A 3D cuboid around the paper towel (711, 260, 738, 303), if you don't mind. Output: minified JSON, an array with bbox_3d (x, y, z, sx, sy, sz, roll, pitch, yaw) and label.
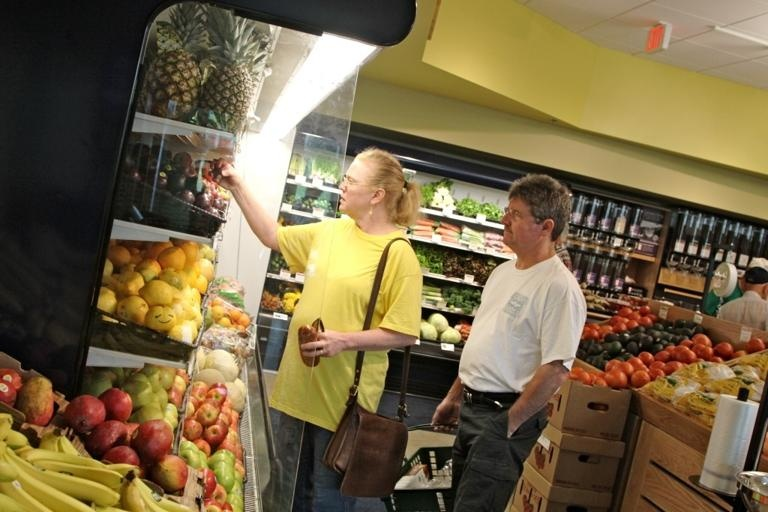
[{"bbox_3d":[3.099,0.216,4.418,0.108,0.328,0.290,11,9,7],"label":"paper towel"}]

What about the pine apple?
[{"bbox_3d":[-0.561,-0.585,1.504,0.215,0.474,0.226,24,-2,-10],"label":"pine apple"}]

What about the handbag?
[{"bbox_3d":[-0.050,0.833,2.156,0.363,0.347,0.192,30,-13,-33],"label":"handbag"}]
